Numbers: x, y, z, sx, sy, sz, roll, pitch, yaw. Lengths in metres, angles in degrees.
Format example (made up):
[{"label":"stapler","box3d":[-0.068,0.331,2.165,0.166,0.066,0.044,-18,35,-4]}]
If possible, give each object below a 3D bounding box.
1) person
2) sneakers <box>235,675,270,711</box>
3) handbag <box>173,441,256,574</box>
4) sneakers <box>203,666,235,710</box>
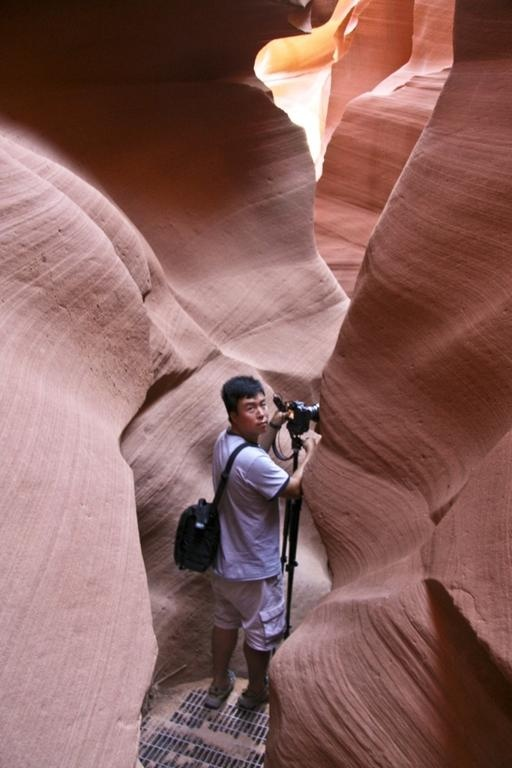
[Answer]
[{"label":"person","box3d":[0.019,0.566,2.266,0.408,1.118,0.373,-1,7,-21]},{"label":"sneakers","box3d":[0.008,1.100,2.294,0.096,0.257,0.106,-4,55,10]},{"label":"handbag","box3d":[-0.157,0.417,2.193,0.209,0.150,0.427,12,77,-18]},{"label":"sneakers","box3d":[-0.140,1.096,2.334,0.057,0.056,0.154,1,22,14]}]
